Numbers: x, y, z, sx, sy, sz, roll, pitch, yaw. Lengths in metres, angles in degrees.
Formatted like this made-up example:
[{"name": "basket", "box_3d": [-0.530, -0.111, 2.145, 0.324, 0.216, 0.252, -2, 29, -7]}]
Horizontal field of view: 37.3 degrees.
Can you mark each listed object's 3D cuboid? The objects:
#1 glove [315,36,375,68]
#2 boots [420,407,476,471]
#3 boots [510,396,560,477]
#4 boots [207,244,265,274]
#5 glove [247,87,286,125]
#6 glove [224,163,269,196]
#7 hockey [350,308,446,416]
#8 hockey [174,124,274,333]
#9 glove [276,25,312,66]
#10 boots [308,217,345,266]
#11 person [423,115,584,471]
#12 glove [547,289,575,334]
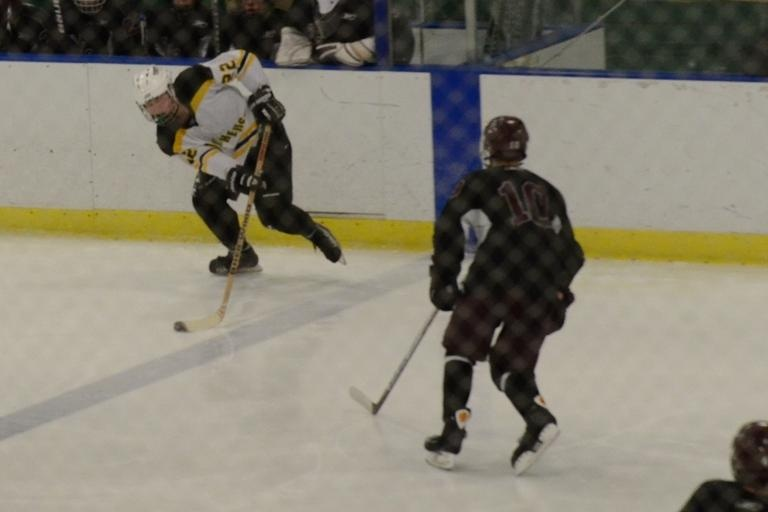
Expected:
[{"name": "glove", "box_3d": [-0.274, -1.561, 8.742, 0.534, 0.196, 0.177, -2, 28, 3]}, {"name": "boots", "box_3d": [0.366, 0.982, 6.288, 0.162, 0.183, 0.454, 6, 30, 18]}, {"name": "boots", "box_3d": [0.824, 0.982, 6.213, 0.244, 0.421, 0.194, 1, 22, -2]}, {"name": "boots", "box_3d": [-1.060, 0.024, 8.126, 0.454, 0.184, 0.148, -2, 18, -12]}, {"name": "glove", "box_3d": [-0.786, -1.032, 7.813, 0.279, 0.210, 0.110, 44, 15, -3]}, {"name": "glove", "box_3d": [-0.938, -0.504, 7.691, 0.258, 0.166, 0.104, 16, -5, 5]}, {"name": "hockey", "box_3d": [0.086, 0.655, 6.812, 0.446, 0.698, 0.289, 31, -13, 4]}, {"name": "hockey", "box_3d": [-1.106, -0.189, 7.865, 0.489, 0.147, 1.909, 7, 44, 8]}, {"name": "glove", "box_3d": [-0.700, -1.629, 8.714, 0.241, 0.142, 0.337, 2, 60, 8]}, {"name": "boots", "box_3d": [-0.392, -0.083, 7.967, 0.328, 0.100, 0.198, 37, 39, -25]}, {"name": "person", "box_3d": [0.647, 0.337, 6.257, 0.815, 1.546, 0.763, 5, 22, 8]}, {"name": "glove", "box_3d": [0.981, 0.305, 6.318, 0.068, 0.178, 0.238, 26, 60, 22]}]
